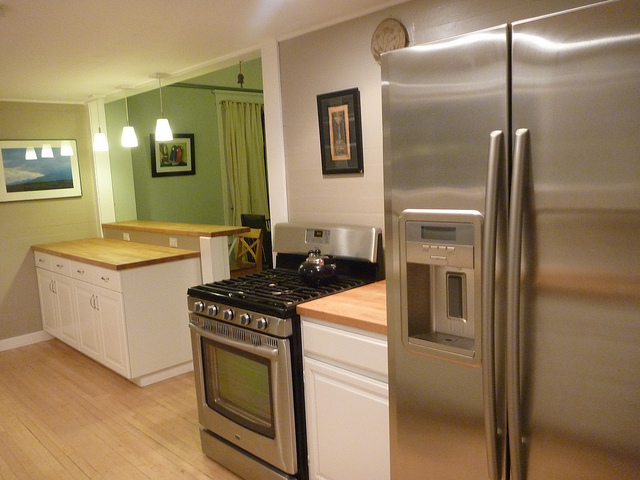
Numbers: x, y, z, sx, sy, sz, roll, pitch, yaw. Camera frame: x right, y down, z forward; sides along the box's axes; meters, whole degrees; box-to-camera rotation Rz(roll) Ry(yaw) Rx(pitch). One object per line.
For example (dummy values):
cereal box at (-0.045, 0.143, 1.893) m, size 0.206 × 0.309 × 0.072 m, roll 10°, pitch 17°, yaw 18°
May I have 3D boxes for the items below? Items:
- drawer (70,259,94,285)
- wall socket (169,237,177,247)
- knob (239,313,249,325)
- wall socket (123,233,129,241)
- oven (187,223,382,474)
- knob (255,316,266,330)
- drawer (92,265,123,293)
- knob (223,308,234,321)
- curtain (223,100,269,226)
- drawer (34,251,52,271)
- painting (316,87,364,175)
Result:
drawer at (-2.012, 0.260, 3.941) m, size 0.284 × 0.150 × 0.185 m, roll 6°, pitch 7°, yaw 35°
wall socket at (-1.285, 0.010, 4.084) m, size 0.070 × 0.052 × 0.010 m, roll 14°, pitch 22°, yaw 43°
knob at (-0.379, 0.389, 2.327) m, size 0.052 × 0.075 × 0.039 m, roll 2°, pitch 4°, yaw 27°
wall socket at (-1.961, -0.041, 4.715) m, size 0.010 × 0.053 × 0.072 m, roll -14°, pitch 20°, yaw -43°
oven at (-0.223, 0.606, 2.705) m, size 0.842 × 1.331 × 0.745 m, roll 6°, pitch 12°, yaw 44°
knob at (-0.290, 0.403, 2.275) m, size 0.056 × 0.059 × 0.017 m, roll 2°, pitch 10°, yaw 25°
drawer at (-1.643, 0.293, 3.599) m, size 0.294 × 0.152 × 0.188 m, roll 7°, pitch 8°, yaw 40°
knob at (-0.473, 0.379, 2.405) m, size 0.061 × 0.064 × 0.031 m, roll -2°, pitch 0°, yaw 36°
curtain at (-1.020, -1.123, 6.765) m, size 0.274 × 1.737 × 0.757 m, roll 4°, pitch 11°, yaw 35°
drawer at (-2.718, 0.194, 4.585) m, size 0.181 × 0.117 × 0.116 m, roll 6°, pitch 7°, yaw 38°
painting at (0.117, -0.644, 2.814) m, size 0.046 × 0.486 × 0.337 m, roll -10°, pitch 12°, yaw -43°
